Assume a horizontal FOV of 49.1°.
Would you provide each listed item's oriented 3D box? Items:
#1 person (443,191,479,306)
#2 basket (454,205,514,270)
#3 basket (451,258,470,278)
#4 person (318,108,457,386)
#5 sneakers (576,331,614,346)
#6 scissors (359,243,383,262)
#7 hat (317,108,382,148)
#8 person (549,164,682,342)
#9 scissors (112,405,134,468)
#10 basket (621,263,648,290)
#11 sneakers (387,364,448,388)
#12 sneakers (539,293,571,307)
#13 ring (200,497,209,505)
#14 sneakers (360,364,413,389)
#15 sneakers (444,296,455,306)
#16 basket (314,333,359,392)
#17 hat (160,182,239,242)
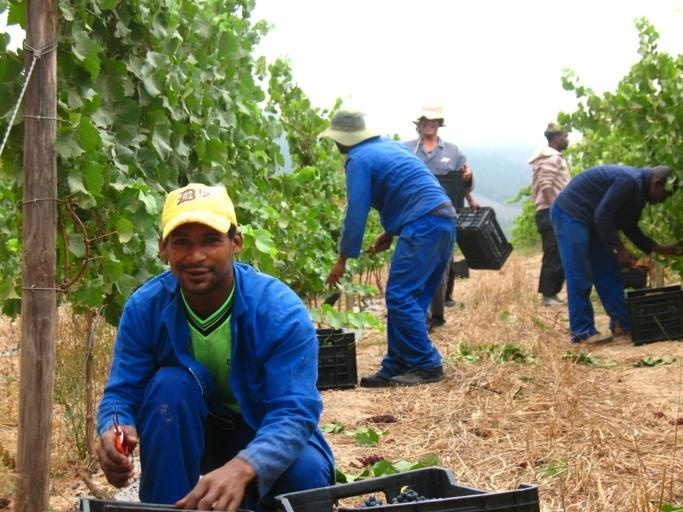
[{"bbox_3d":[1.485,-0.028,9.689,0.367,1.238,1.207,5,1,27],"label":"person"},{"bbox_3d":[1.500,-0.169,8.164,0.696,0.735,0.557,-6,8,-18],"label":"basket"},{"bbox_3d":[1.665,0.165,10.411,0.326,0.335,0.226,0,6,-37],"label":"basket"},{"bbox_3d":[0.432,-0.083,6.152,1.022,2.295,0.561,-2,8,9],"label":"person"},{"bbox_3d":[2.462,0.799,7.277,0.278,0.203,0.098,4,-9,11],"label":"sneakers"},{"bbox_3d":[0.370,-0.052,9.901,0.317,0.135,0.447,2,-16,-36],"label":"scissors"},{"bbox_3d":[0.056,-1.103,6.351,0.563,0.305,0.485,-2,15,22],"label":"hat"},{"bbox_3d":[2.611,-0.006,7.105,0.934,1.719,0.795,-5,8,-8],"label":"person"},{"bbox_3d":[-0.995,0.814,3.345,0.055,0.231,0.086,-11,-28,-36],"label":"scissors"},{"bbox_3d":[3.472,0.246,8.841,0.237,0.250,0.148,3,29,19],"label":"basket"},{"bbox_3d":[0.645,0.984,6.179,0.458,0.200,0.171,1,-15,0],"label":"sneakers"},{"bbox_3d":[2.856,0.593,9.990,0.298,0.299,0.147,-3,0,-2],"label":"sneakers"},{"bbox_3d":[-0.566,1.010,3.087,0.026,0.027,0.027,6,-43,6],"label":"ring"},{"bbox_3d":[0.373,0.981,6.161,0.419,0.181,0.158,3,-9,-2],"label":"sneakers"},{"bbox_3d":[1.495,0.618,10.294,0.095,0.141,0.132,-3,2,11],"label":"sneakers"},{"bbox_3d":[-0.139,0.865,6.339,0.373,0.479,0.511,0,-4,-18],"label":"basket"},{"bbox_3d":[-0.686,-0.219,3.564,0.378,0.267,0.513,-6,2,8],"label":"hat"}]
